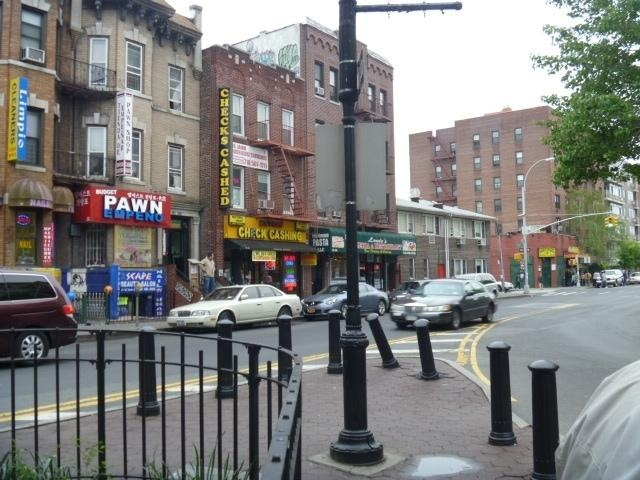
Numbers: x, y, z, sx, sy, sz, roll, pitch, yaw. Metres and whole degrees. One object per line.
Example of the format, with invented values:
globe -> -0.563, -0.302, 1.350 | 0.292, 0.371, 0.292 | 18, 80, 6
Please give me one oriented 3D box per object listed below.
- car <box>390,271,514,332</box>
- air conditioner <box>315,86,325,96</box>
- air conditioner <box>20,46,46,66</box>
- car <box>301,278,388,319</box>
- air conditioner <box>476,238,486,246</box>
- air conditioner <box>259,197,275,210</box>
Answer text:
car -> 4.034, 2.043, 26.267 | 1.819, 1.602, 3.707 | -7, -6, 42
air conditioner -> 0.013, -7.532, 41.177 | 0.360, 0.482, 0.706 | -4, -3, 30
air conditioner -> -9.690, -6.202, 27.449 | 0.432, 0.605, 0.837 | -1, -1, 31
car -> 1.141, 2.098, 30.728 | 3.513, 1.268, 1.530 | 6, -10, -43
air conditioner -> 11.804, 0.132, 59.048 | 0.405, 0.440, 0.675 | 1, -5, -2
air conditioner -> -2.372, -1.609, 35.887 | 0.476, 0.332, 0.494 | -1, -3, 25
